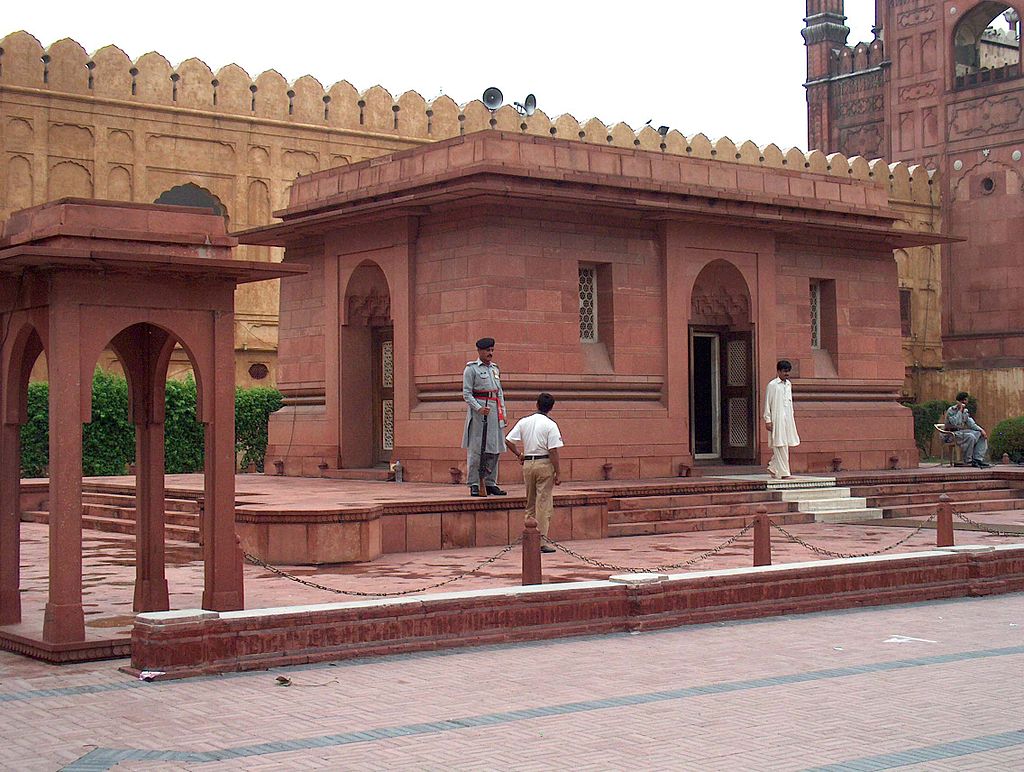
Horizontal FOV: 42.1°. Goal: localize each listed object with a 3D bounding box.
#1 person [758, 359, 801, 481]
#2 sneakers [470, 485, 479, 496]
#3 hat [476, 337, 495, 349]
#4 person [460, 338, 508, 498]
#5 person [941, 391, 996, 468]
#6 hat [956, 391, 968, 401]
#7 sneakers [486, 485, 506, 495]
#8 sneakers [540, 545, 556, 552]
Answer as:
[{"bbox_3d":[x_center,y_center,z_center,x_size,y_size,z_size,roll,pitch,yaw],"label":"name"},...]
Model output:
[{"bbox_3d":[4.214,0.526,20.768,0.476,1.832,0.771,3,4,11],"label":"person"},{"bbox_3d":[-0.452,1.326,16.969,0.089,0.121,0.162,0,-2,-4],"label":"sneakers"},{"bbox_3d":[-0.328,-0.558,17.170,0.189,0.087,0.232,0,3,-8],"label":"hat"},{"bbox_3d":[-0.338,0.392,17.079,0.582,2.006,0.626,1,4,-16],"label":"person"},{"bbox_3d":[9.134,0.855,26.771,0.823,1.313,3.347,3,5,13],"label":"person"},{"bbox_3d":[9.426,0.206,27.818,0.334,0.199,0.438,-2,0,16],"label":"hat"},{"bbox_3d":[-0.196,1.340,17.086,0.275,0.125,0.095,0,0,-23],"label":"sneakers"},{"bbox_3d":[0.448,1.946,15.934,0.205,0.128,0.069,-2,5,-11],"label":"sneakers"}]
